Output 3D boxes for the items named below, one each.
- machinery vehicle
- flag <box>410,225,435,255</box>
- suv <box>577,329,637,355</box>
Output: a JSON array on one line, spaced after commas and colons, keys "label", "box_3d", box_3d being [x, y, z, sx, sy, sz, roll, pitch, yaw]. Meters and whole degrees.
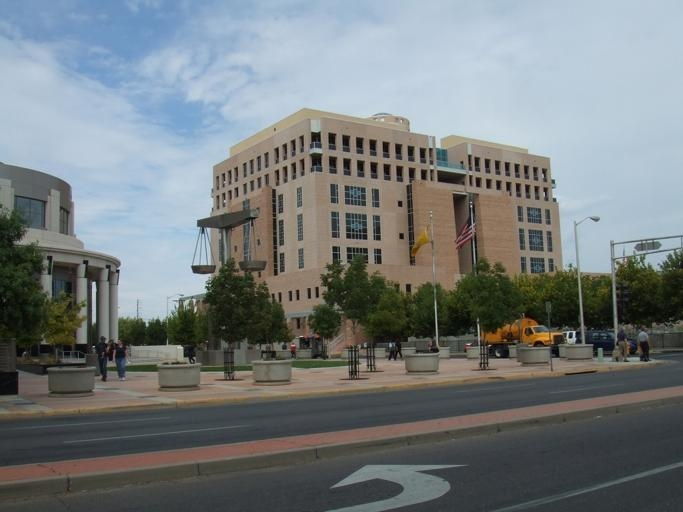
[{"label": "machinery vehicle", "box_3d": [13.158, 5.881, 54.305, 2.974, 2.928, 6.649, 3, -7, -34]}, {"label": "flag", "box_3d": [8.991, -1.852, 81.605, 1.060, 3.018, 3.673, 23, 13, -11]}, {"label": "suv", "box_3d": [18.260, 6.022, 50.811, 3.906, 1.770, 1.929, -3, -4, 19]}]
